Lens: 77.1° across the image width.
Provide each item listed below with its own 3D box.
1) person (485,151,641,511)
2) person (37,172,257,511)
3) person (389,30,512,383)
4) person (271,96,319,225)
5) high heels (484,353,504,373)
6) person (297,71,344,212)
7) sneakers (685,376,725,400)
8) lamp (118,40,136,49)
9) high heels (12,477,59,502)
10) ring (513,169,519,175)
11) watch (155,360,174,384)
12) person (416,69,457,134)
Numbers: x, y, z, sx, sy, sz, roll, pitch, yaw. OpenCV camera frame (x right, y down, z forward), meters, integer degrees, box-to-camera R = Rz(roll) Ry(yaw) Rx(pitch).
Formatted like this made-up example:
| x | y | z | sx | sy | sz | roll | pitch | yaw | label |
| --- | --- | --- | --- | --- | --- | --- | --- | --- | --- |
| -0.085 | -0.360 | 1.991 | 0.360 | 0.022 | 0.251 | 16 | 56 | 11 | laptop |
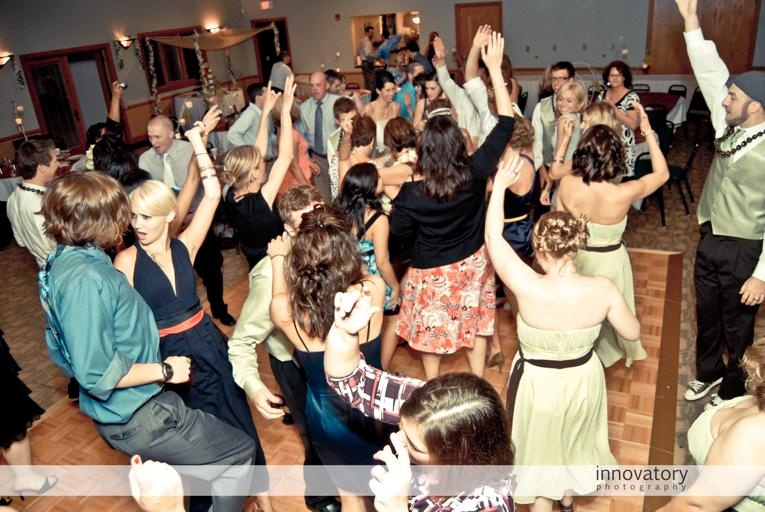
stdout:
| x | y | z | sx | sy | sz | roll | pitch | yaw | label |
| --- | --- | --- | --- | --- | --- | --- | --- | --- | --- |
| 0.953 | 0.617 | 2.713 | 0.768 | 1.857 | 0.564 | 5 | 26 | 27 | person |
| -1.225 | 0.638 | 2.484 | 0.794 | 2.079 | 0.552 | 9 | 29 | 34 | person |
| 0.560 | -0.183 | 3.521 | 1.027 | 2.461 | 0.726 | -12 | 22 | -16 | person |
| -0.926 | -0.798 | 4.839 | 0.439 | 1.481 | 0.407 | -6 | 6 | 1 | person |
| 0.920 | 0.885 | 3.970 | 0.076 | 0.131 | 0.248 | -5 | 6 | -23 | high heels |
| -0.777 | -1.300 | 6.487 | 0.723 | 2.153 | 0.606 | -4 | 23 | -11 | person |
| 2.557 | 1.047 | 3.803 | 0.285 | 0.111 | 0.101 | -26 | 24 | 12 | sneakers |
| -5.984 | -4.949 | 11.247 | 0.291 | 0.177 | 0.308 | -4 | -5 | -5 | lamp |
| -2.378 | 1.568 | 3.299 | 0.214 | 0.089 | 0.112 | -14 | 41 | -29 | high heels |
| 0.772 | -0.486 | 2.803 | 0.029 | 0.012 | 0.039 | 3 | 41 | 23 | ring |
| -1.075 | 0.581 | 2.404 | 0.093 | 0.100 | 0.064 | -18 | -1 | 29 | watch |
| 0.549 | -1.527 | 5.183 | 0.400 | 0.875 | 0.469 | 6 | -15 | 16 | person |
